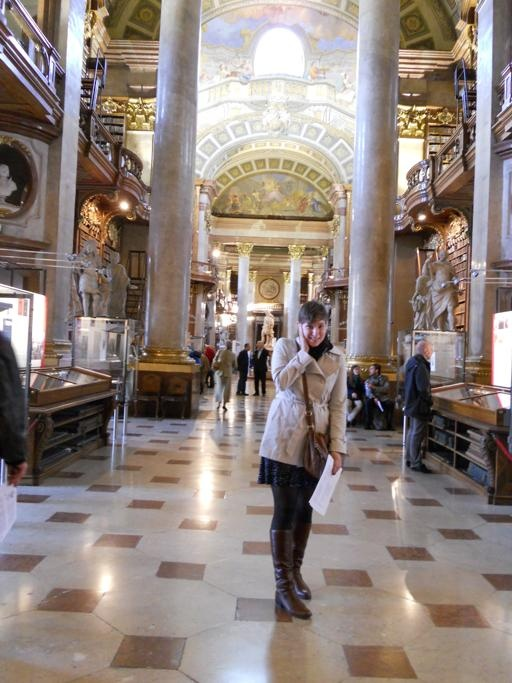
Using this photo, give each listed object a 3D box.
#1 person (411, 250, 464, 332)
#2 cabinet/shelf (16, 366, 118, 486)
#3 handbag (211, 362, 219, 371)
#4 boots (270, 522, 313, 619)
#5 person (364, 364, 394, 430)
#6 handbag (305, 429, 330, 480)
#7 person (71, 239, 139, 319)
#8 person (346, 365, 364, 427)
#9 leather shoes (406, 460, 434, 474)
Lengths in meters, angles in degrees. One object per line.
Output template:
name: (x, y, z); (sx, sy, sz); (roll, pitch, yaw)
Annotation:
person: (2.941, -0.843, 8.662); (0.772, 1.361, 0.482); (3, 0, 30)
cabinet/shelf: (-1.833, 0.721, 4.880); (0.620, 0.869, 1.537); (1, 0, 7)
handbag: (-0.710, 0.450, 9.278); (0.101, 0.117, 0.134); (2, -19, -1)
boots: (0.142, 0.894, 2.096); (0.169, 0.336, 0.265); (3, 0, 6)
person: (1.898, 0.862, 8.118); (0.445, 1.010, 0.445); (3, 0, 15)
handbag: (0.229, 0.435, 1.994); (0.072, 0.190, 0.179); (0, -8, 19)
person: (-2.604, -1.007, 9.159); (0.595, 1.247, 1.686); (3, 0, 7)
person: (1.575, 0.868, 8.337); (0.257, 0.941, 0.296); (3, 0, 10)
leather shoes: (1.587, 1.221, 5.131); (0.262, 0.106, 0.089); (5, 0, 4)
